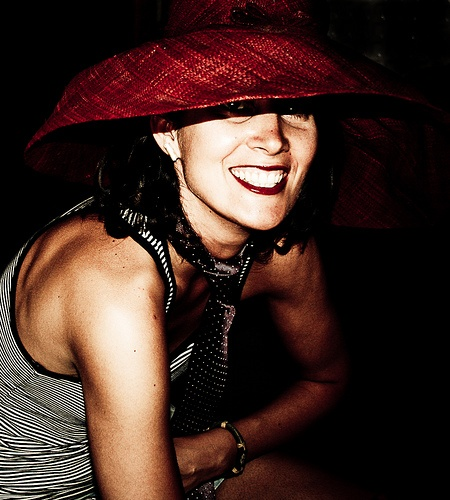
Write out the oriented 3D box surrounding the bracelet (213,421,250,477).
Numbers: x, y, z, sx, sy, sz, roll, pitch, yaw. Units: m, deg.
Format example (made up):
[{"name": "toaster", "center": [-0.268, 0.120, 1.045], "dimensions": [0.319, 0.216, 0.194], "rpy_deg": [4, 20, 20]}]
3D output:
[{"name": "bracelet", "center": [0.016, 0.653, 2.078], "dimensions": [0.119, 0.044, 0.146], "rpy_deg": [-16, 86, -42]}]
